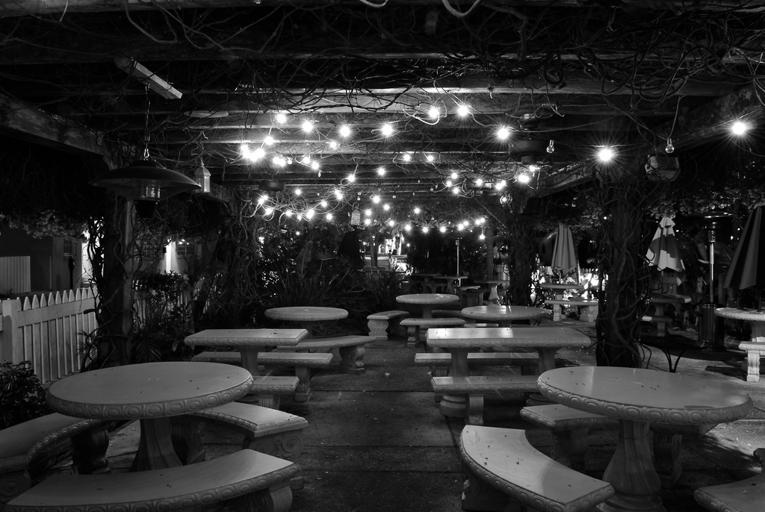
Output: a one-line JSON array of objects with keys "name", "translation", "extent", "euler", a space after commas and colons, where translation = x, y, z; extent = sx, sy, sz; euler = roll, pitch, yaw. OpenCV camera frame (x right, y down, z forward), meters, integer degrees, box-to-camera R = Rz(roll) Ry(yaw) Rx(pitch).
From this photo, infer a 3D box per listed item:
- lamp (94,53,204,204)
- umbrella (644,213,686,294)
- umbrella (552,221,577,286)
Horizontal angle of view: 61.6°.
[{"name": "lamp", "translation": [-2.099, -1.068, 5.698], "extent": [0.816, 1.057, 0.872], "euler": [-1, 0, 3]}, {"name": "umbrella", "translation": [4.714, -0.091, 10.596], "extent": [0.555, 1.179, 0.547], "euler": [-2, 9, 16]}, {"name": "umbrella", "translation": [3.464, -0.090, 12.213], "extent": [0.367, 1.052, 1.028], "euler": [5, -11, 10]}]
